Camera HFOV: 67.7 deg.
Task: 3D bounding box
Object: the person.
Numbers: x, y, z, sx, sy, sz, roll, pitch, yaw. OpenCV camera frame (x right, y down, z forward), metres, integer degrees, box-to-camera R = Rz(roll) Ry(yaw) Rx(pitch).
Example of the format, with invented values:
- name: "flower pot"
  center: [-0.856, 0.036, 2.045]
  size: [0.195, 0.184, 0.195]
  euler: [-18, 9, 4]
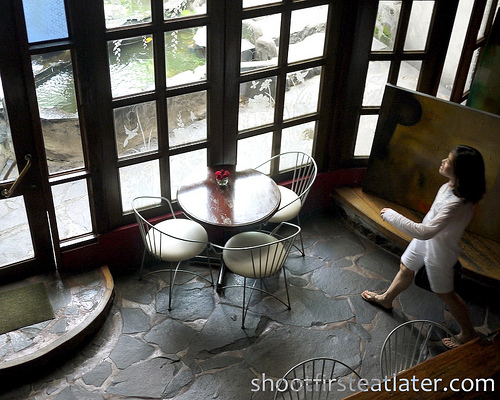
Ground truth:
- name: "person"
  center: [1.576, 0.397, 3.358]
  size: [1.006, 1.816, 0.708]
  euler: [20, 33, 39]
